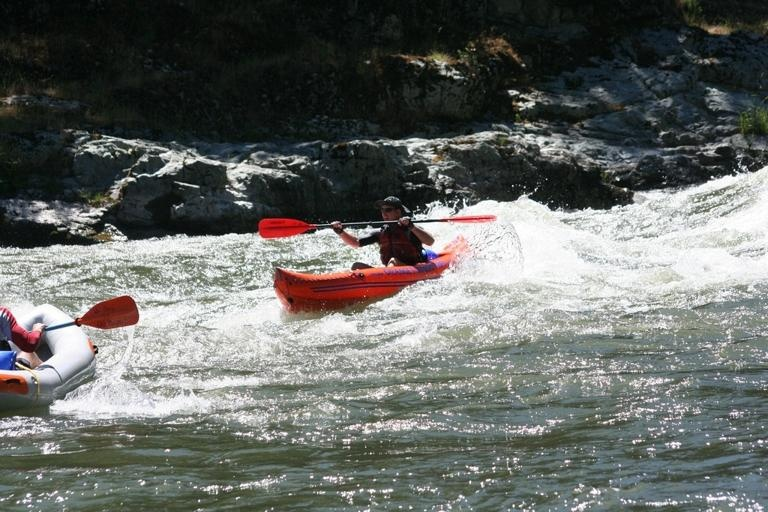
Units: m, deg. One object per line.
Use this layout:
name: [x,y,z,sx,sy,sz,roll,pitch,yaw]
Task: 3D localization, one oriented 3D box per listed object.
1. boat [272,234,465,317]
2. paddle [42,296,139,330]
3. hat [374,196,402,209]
boat: [-0.158,0.456,31.773,4.430,0.975,1.346,-9,25,-28]
paddle: [-6.349,1.369,29.728,2.724,0.634,0.127,-12,10,26]
hat: [0.086,-1.206,32.137,0.521,0.225,0.309,18,0,-8]
